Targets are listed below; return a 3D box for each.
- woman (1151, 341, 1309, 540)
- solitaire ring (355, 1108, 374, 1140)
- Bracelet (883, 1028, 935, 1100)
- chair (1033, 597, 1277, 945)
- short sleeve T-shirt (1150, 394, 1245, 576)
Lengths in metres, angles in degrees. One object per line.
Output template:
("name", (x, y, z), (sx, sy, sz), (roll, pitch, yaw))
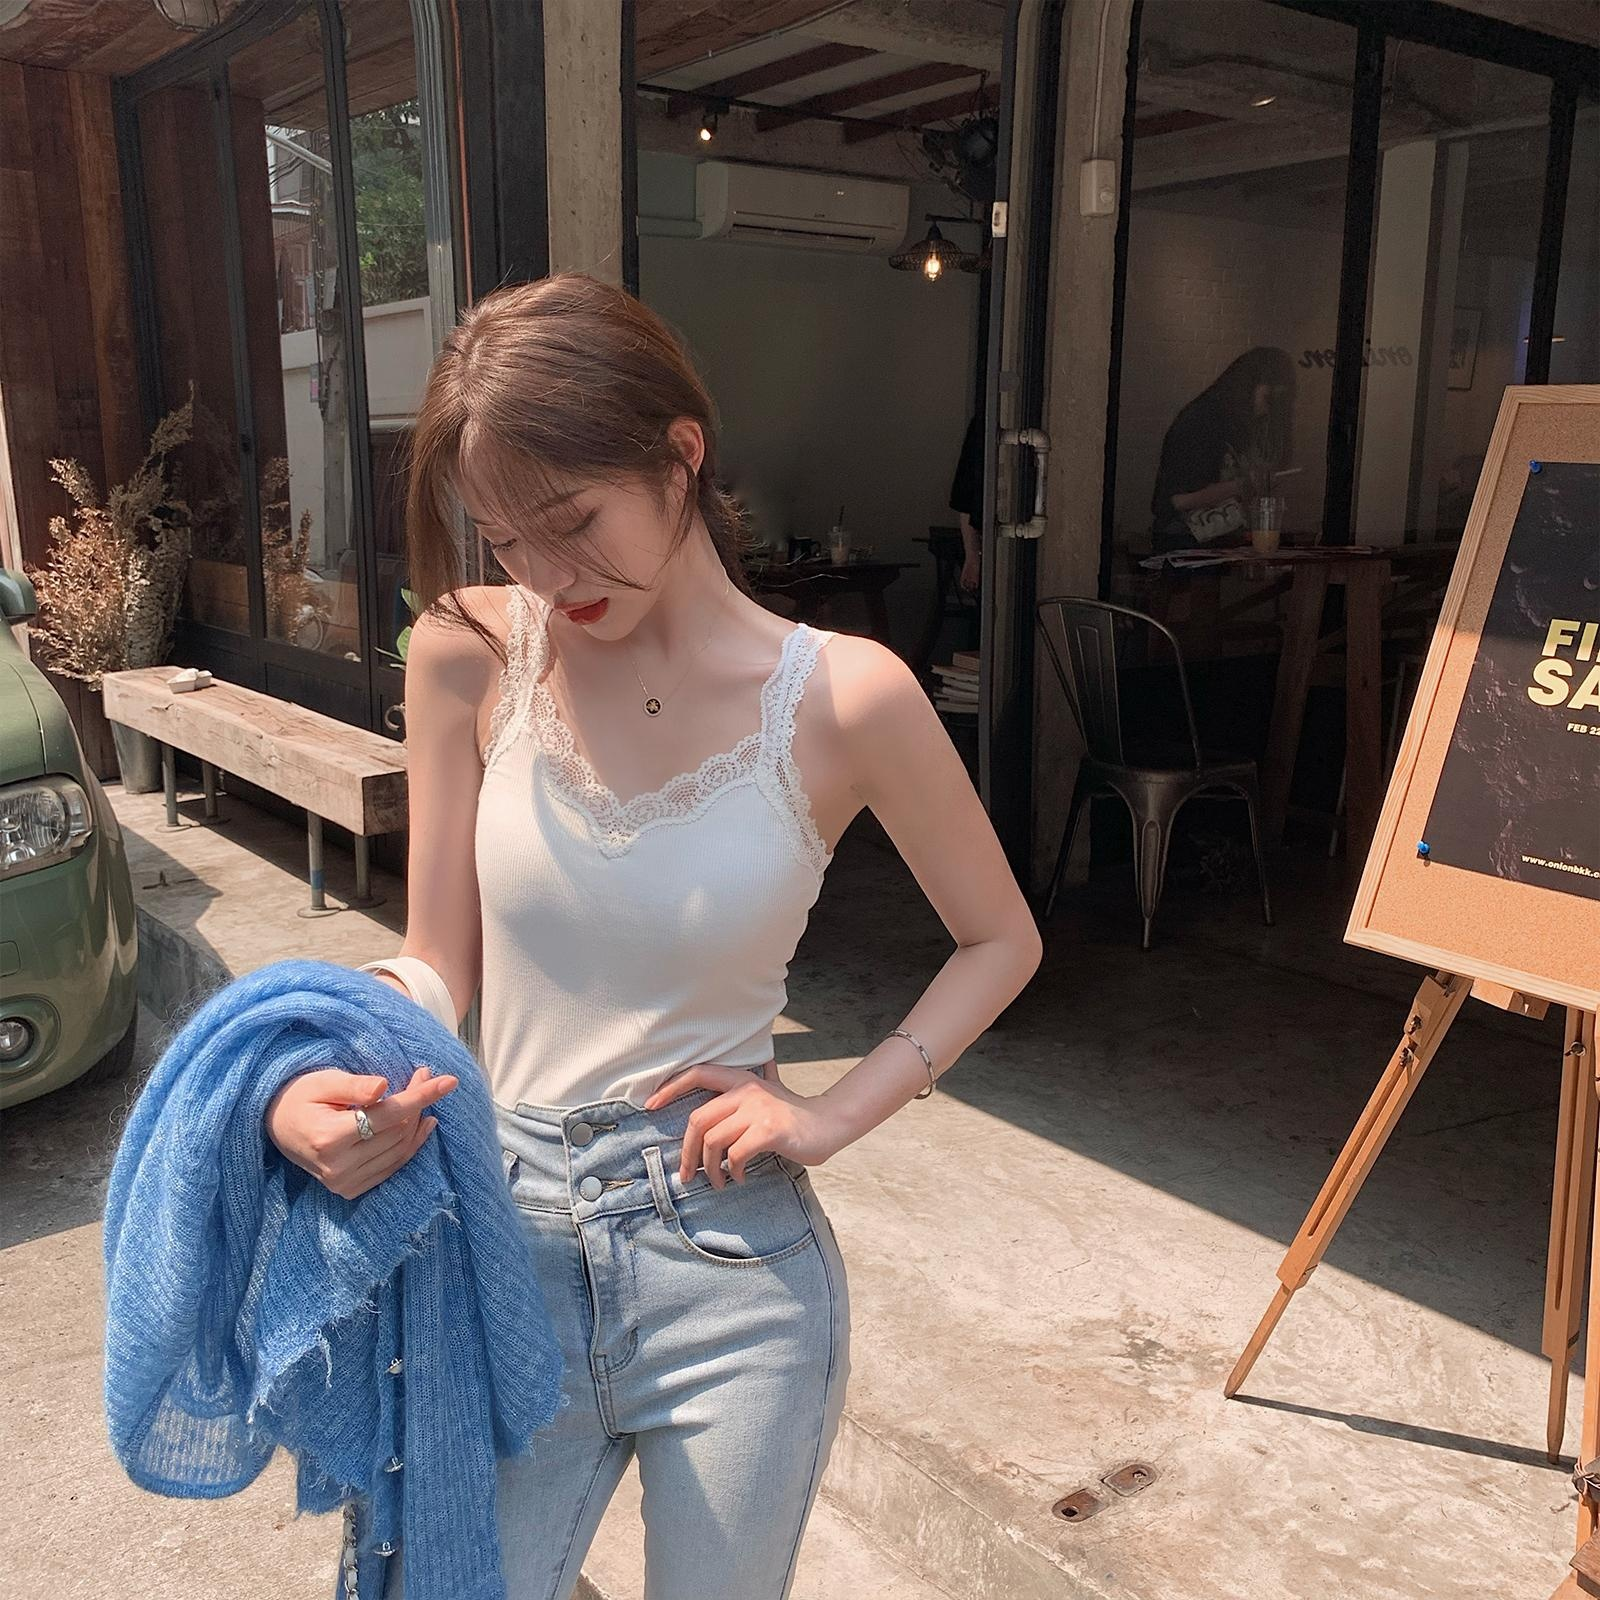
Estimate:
("woman", (1.851, -1.465, 5.796), (0.487, 0.836, 0.432), (-27, 38, -30))
("solitaire ring", (-0.276, 0.208, 0.884), (0.011, 0.021, 0.010), (-3, 15, -17))
("Bracelet", (0.086, 0.205, 1.081), (0.015, 0.047, 0.042), (-30, 0, -11))
("chair", (1.209, -0.153, 5.144), (1.011, 1.207, 0.826), (-9, 17, -35))
("short sleeve T-shirt", (1.518, -1.266, 5.577), (0.160, 0.520, 0.684), (20, -5, 24))
